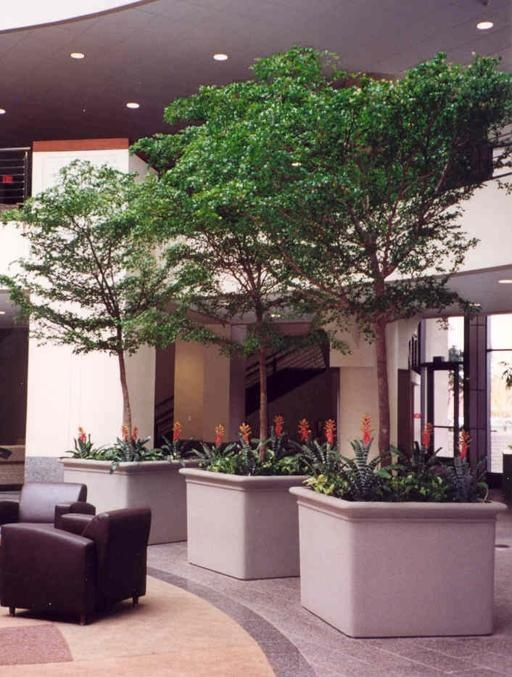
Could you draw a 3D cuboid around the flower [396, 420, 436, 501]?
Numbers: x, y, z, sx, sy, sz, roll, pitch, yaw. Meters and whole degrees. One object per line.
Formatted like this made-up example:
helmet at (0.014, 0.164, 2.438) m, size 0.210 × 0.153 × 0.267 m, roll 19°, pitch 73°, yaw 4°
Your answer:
flower at (1.184, 0.967, 5.520) m, size 0.290 × 0.333 × 0.955 m, roll -2°, pitch -2°, yaw 12°
